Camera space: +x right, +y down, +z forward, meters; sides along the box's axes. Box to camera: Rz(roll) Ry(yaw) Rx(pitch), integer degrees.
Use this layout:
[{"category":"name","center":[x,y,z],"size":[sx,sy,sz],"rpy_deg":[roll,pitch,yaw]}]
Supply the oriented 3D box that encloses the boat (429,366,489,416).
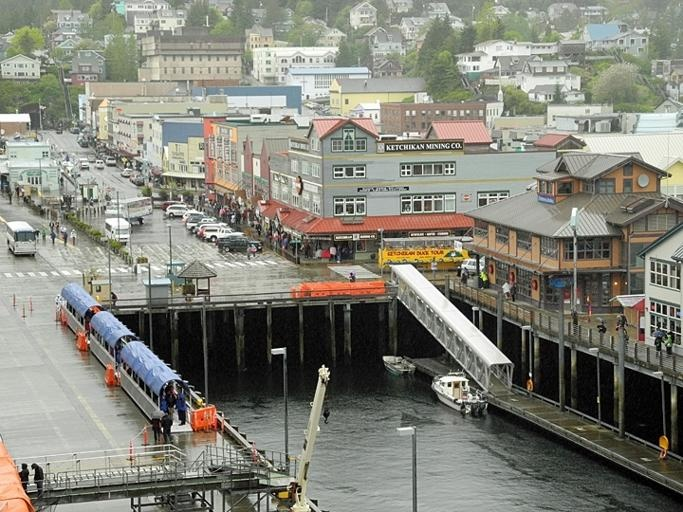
[{"category":"boat","center":[11.936,13.616,164.111],"size":[3.876,3.943,4.095],"rpy_deg":[-7,0,35]}]

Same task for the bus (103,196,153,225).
[{"category":"bus","center":[-28.100,-5.996,230.891],"size":[3.159,3.043,5.656],"rpy_deg":[9,14,42]}]
